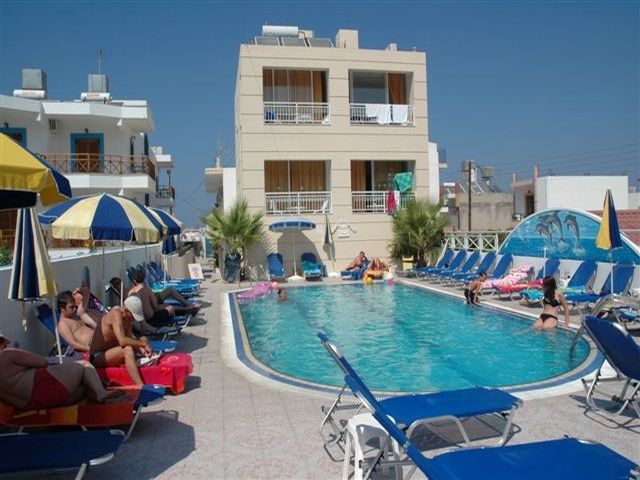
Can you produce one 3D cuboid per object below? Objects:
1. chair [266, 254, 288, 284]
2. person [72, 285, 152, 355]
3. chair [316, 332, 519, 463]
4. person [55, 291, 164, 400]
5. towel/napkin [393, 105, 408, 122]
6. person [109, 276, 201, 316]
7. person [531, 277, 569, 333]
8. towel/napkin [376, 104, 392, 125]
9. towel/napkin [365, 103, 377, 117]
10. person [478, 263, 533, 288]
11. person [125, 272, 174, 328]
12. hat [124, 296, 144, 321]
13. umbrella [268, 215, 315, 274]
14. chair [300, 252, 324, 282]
[{"bbox_3d":[-1.502,0.936,21.822,0.569,0.744,0.988,-1,3,-12],"label":"chair"},{"bbox_3d":[-3.405,1.297,10.005,1.564,1.084,0.789,1,7,-23],"label":"person"},{"bbox_3d":[1.245,1.894,8.016,2.509,1.638,1.310,-3,0,-12],"label":"chair"},{"bbox_3d":[-3.104,1.466,9.504,1.713,1.232,0.767,7,11,2],"label":"person"},{"bbox_3d":[3.036,-4.933,24.577,0.583,0.704,0.114,-1,4,-11],"label":"towel/napkin"},{"bbox_3d":[-3.315,1.171,12.576,1.714,0.845,0.973,-1,15,-19],"label":"person"},{"bbox_3d":[4.633,1.575,12.894,0.664,1.693,0.674,1,-6,14],"label":"person"},{"bbox_3d":[2.398,-4.853,24.430,0.708,1.117,0.110,0,-1,-9],"label":"towel/napkin"},{"bbox_3d":[1.903,-5.006,24.376,0.461,0.536,0.070,0,-1,-7],"label":"towel/napkin"},{"bbox_3d":[4.988,0.998,16.771,0.894,0.381,0.715,-2,-5,-5],"label":"person"},{"bbox_3d":[-3.345,1.095,12.358,0.669,1.144,0.814,-2,16,30],"label":"person"},{"bbox_3d":[-3.081,1.143,10.478,0.180,0.398,0.250,-35,-8,19],"label":"hat"},{"bbox_3d":[-0.962,0.142,22.563,1.635,2.080,1.617,-4,1,-38],"label":"umbrella"},{"bbox_3d":[-0.309,0.990,22.708,0.554,0.762,1.071,0,3,-9],"label":"chair"}]
